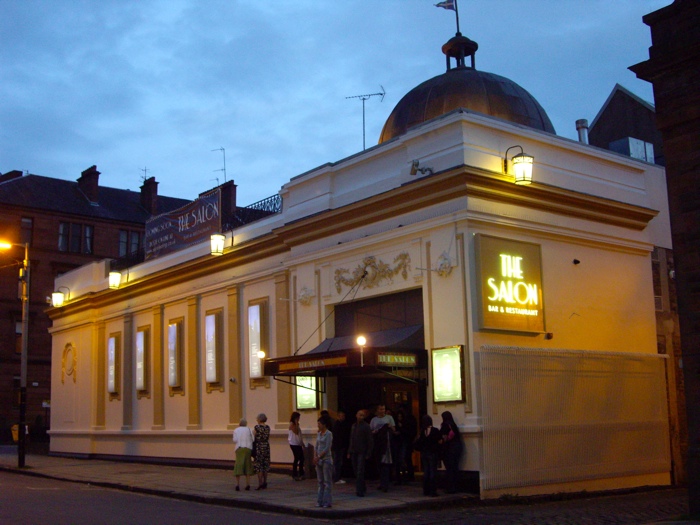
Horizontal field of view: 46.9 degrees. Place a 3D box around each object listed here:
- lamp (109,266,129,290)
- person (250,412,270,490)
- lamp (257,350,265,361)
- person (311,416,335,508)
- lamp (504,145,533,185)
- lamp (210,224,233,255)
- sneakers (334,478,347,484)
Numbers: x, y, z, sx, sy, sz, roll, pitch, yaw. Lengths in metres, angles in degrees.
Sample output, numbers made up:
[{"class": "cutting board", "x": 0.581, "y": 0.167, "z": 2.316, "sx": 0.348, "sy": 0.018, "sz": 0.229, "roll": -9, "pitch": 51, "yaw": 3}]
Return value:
[{"class": "lamp", "x": -10.582, "y": 0.716, "z": 36.573, "sx": 0.659, "sy": 1.246, "sz": 1.194, "roll": -1, "pitch": -9, "yaw": 10}, {"class": "person", "x": -2.652, "y": 5.495, "z": 23.584, "sx": 0.468, "sy": 2.116, "sz": 1.041, "roll": 0, "pitch": -8, "yaw": -7}, {"class": "lamp", "x": -3.150, "y": 3.246, "z": 28.516, "sx": 0.288, "sy": 0.393, "sz": 0.624, "roll": 1, "pitch": -8, "yaw": -10}, {"class": "person", "x": -0.679, "y": 4.978, "z": 19.971, "sx": 0.411, "sy": 2.031, "sz": 0.823, "roll": 0, "pitch": -8, "yaw": -3}, {"class": "lamp", "x": 4.892, "y": -2.932, "z": 23.554, "sx": 0.815, "sy": 1.340, "sz": 1.076, "roll": -2, "pitch": -8, "yaw": 11}, {"class": "lamp", "x": -4.868, "y": -0.874, "z": 30.541, "sx": 0.799, "sy": 1.204, "sz": 1.954, "roll": 1, "pitch": -8, "yaw": -8}, {"class": "sneakers", "x": -0.289, "y": 6.609, "z": 24.309, "sx": 0.390, "sy": 0.164, "sz": 0.134, "roll": 2, "pitch": -1, "yaw": -29}]
